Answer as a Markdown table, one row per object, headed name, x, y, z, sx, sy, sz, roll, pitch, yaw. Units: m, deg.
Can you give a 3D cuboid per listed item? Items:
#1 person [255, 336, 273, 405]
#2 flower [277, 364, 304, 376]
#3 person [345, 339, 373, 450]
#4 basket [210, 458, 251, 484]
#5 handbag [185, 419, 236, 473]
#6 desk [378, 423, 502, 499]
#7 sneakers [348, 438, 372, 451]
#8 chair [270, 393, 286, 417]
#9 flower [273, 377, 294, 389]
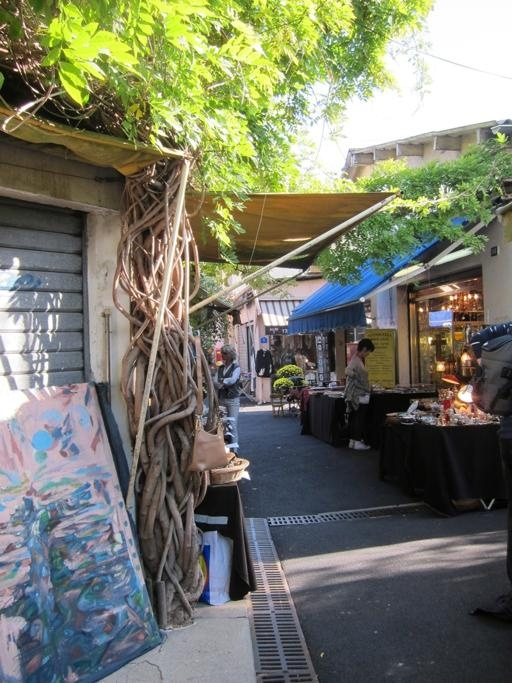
| name | x | y | z | sx | sy | sz | roll | pitch | yaw |
| --- | --- | --- | --- | --- | --- | --- | --- | --- | --- |
| person | 0.328 | 0.995 | 19.915 | 0.707 | 2.805 | 0.688 | -3 | 2 | 4 |
| flower | 1.082 | 0.896 | 16.279 | 0.438 | 0.332 | 0.523 | 0 | -13 | 0 |
| person | 1.809 | 0.931 | 8.936 | 0.502 | 1.919 | 0.702 | -2 | -3 | 8 |
| basket | -0.188 | 0.891 | 3.503 | 0.218 | 0.080 | 0.271 | -3 | -7 | -2 |
| handbag | -0.282 | 0.618 | 2.949 | 0.207 | 0.286 | 0.205 | -2 | -3 | -7 |
| desk | 1.956 | 1.253 | 5.348 | 1.033 | 0.493 | 1.018 | 1 | -2 | -19 |
| sneakers | 1.818 | 1.809 | 8.903 | 0.369 | 0.243 | 0.142 | -2 | 2 | -2 |
| chair | 0.676 | 1.982 | 15.602 | 0.581 | 0.777 | 0.595 | 1 | -12 | -6 |
| flower | 0.877 | 1.294 | 15.536 | 0.378 | 0.346 | 0.855 | 0 | -4 | -30 |
